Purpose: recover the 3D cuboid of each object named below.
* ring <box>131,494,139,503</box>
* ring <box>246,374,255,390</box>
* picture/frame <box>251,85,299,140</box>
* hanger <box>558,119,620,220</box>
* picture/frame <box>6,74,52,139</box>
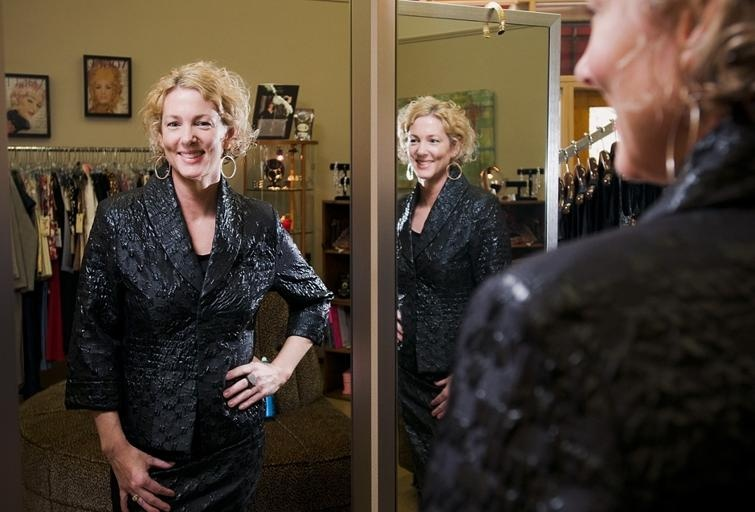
[{"bbox_3d":[-0.626,0.629,1.548,0.013,0.019,0.009,-2,-7,-28],"label":"ring"},{"bbox_3d":[-0.344,0.342,1.628,0.021,0.032,0.010,5,-3,-28],"label":"ring"},{"bbox_3d":[-0.294,-0.406,1.681,0.137,0.189,0.012,6,2,-36],"label":"picture/frame"},{"bbox_3d":[0.517,-0.278,1.492,0.018,0.170,0.158,5,4,-31],"label":"hanger"},{"bbox_3d":[-0.886,-0.382,1.516,0.150,0.193,0.012,0,8,-4],"label":"picture/frame"}]
